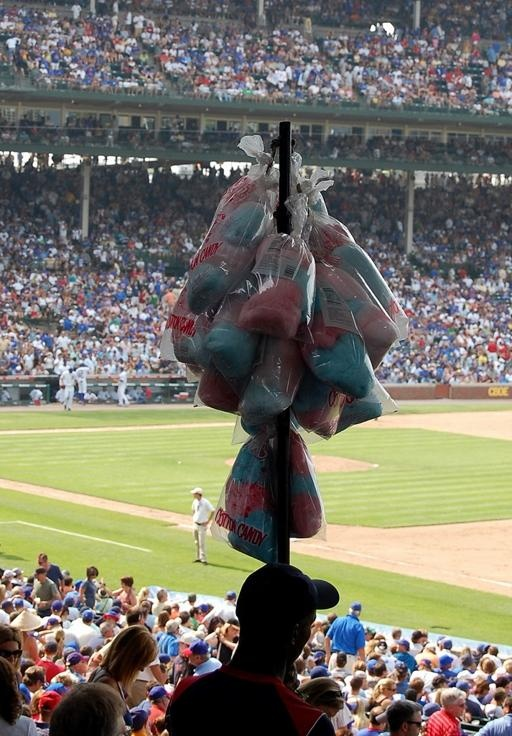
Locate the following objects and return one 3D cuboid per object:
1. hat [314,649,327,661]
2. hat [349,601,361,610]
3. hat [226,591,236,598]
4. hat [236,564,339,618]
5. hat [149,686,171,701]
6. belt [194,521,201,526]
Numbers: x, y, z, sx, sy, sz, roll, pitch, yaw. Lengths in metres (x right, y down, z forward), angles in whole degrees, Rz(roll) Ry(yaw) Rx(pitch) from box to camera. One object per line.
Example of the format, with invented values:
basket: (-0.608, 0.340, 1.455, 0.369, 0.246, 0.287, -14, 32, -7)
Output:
hat: (0.544, 2.501, 11.269, 0.070, 0.084, 0.089, 4, -13, 17)
hat: (0.973, 2.385, 12.842, 0.092, 0.061, 0.123, 13, 16, 7)
hat: (-0.279, 2.397, 13.585, 0.077, 0.087, 0.099, 5, 17, 9)
hat: (0.150, 1.001, 5.788, 0.377, 0.178, 0.230, -12, 14, -31)
hat: (-0.680, 2.250, 8.969, 0.140, 0.110, 0.160, 2, 4, -8)
belt: (-0.813, 2.106, 17.523, 0.065, 0.022, 0.050, 28, -11, -2)
